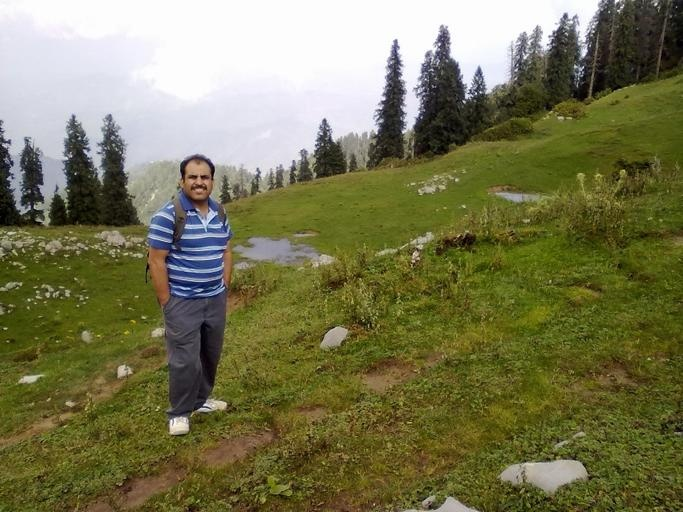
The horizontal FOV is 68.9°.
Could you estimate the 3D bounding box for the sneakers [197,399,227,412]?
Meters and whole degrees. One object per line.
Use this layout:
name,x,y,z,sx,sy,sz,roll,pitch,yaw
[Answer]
sneakers,-2.682,3.150,10.429,0.486,0.220,0.251,-5,8,-18
